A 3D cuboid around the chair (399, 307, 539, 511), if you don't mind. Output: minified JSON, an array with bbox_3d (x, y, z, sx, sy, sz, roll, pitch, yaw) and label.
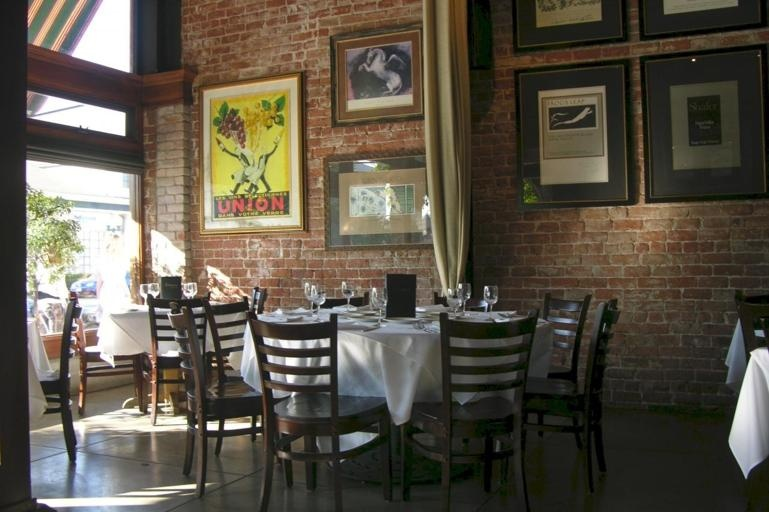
[{"bbox_3d":[0.571,1.072,4.592,0.941,1.312,0.893,-2,0,-7],"label":"chair"}]

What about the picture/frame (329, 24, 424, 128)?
[{"bbox_3d":[-0.037,-1.919,6.798,1.195,1.042,0.091,0,-2,16],"label":"picture/frame"}]

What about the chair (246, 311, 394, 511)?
[{"bbox_3d":[-0.439,1.060,4.501,0.948,1.369,0.685,-2,0,0],"label":"chair"}]
